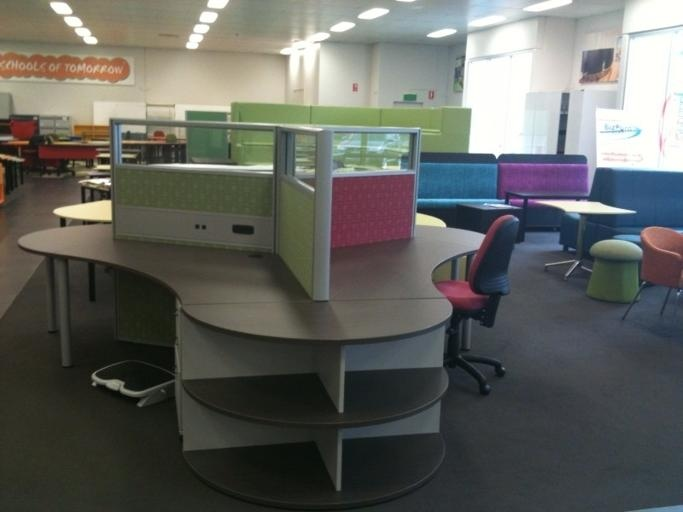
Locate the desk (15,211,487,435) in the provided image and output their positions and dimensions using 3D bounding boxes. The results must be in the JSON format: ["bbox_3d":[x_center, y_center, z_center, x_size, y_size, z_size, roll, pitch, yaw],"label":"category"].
[{"bbox_3d":[-0.149,0.226,3.069,1.419,0.470,1.981,-3,13,-28],"label":"desk"}]

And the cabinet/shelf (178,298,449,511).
[{"bbox_3d":[-0.088,0.709,2.775,1.384,0.875,0.599,-3,14,-16],"label":"cabinet/shelf"}]

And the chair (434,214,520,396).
[{"bbox_3d":[0.839,0.295,3.904,0.698,1.180,0.749,8,9,42],"label":"chair"}]

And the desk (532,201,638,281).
[{"bbox_3d":[2.922,-0.356,6.657,0.993,0.928,0.987,-9,19,-27],"label":"desk"}]

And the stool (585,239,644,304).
[{"bbox_3d":[2.724,0.145,5.592,0.554,0.647,0.583,-1,6,-4],"label":"stool"}]

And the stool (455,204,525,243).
[{"bbox_3d":[2.104,-0.551,7.542,0.756,0.512,0.793,-1,7,-13],"label":"stool"}]

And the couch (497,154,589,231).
[{"bbox_3d":[2.885,-0.891,7.963,1.376,1.128,0.714,0,8,-8],"label":"couch"}]
